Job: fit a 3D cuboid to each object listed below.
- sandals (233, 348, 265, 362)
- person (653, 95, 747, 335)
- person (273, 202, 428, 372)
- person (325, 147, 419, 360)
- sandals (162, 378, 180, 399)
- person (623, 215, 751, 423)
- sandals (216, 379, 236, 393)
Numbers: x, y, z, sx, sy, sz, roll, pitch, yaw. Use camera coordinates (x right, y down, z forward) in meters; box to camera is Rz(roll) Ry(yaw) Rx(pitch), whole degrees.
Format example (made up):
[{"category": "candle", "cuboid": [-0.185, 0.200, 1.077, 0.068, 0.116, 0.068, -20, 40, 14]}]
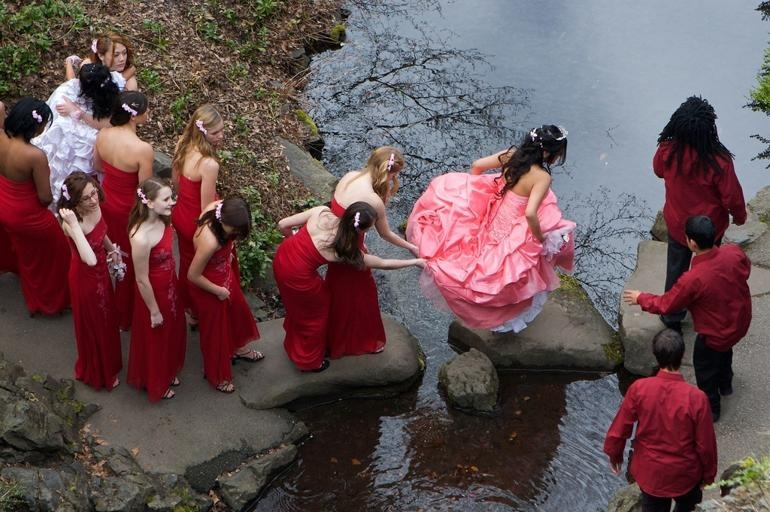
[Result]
[{"category": "sandals", "cuboid": [-1.658, 1.214, 8.754, 0.331, 0.091, 0.154, -3, 44, -1]}, {"category": "person", "cuboid": [3.996, -0.530, 9.144, 1.109, 3.048, 1.124, -2, 32, 15]}, {"category": "person", "cuboid": [-0.689, 0.308, 8.511, 1.235, 2.063, 0.671, -10, 30, -10]}, {"category": "person", "cuboid": [-0.153, 0.087, 9.114, 1.420, 2.836, 0.948, -26, 62, -24]}, {"category": "sandals", "cuboid": [-2.486, 1.563, 8.388, 0.072, 0.104, 0.270, -7, 55, 47]}, {"category": "person", "cuboid": [3.675, 0.707, 8.460, 1.405, 2.643, 1.147, -22, 34, -4]}, {"category": "sandals", "cuboid": [-1.855, 1.546, 8.469, 0.212, 0.083, 0.129, 1, 45, 7]}]
